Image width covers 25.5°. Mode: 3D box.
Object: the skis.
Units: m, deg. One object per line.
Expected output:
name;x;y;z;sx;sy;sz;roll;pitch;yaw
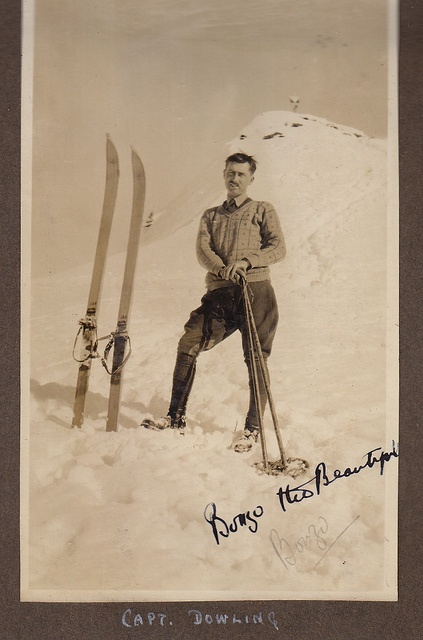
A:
skis;-0.333;-0.113;3.087;0.222;0.113;0.932;6;92;1

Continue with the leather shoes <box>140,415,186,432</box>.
leather shoes;-0.146;0.335;3.038;0.162;0.051;0.063;6;78;0
